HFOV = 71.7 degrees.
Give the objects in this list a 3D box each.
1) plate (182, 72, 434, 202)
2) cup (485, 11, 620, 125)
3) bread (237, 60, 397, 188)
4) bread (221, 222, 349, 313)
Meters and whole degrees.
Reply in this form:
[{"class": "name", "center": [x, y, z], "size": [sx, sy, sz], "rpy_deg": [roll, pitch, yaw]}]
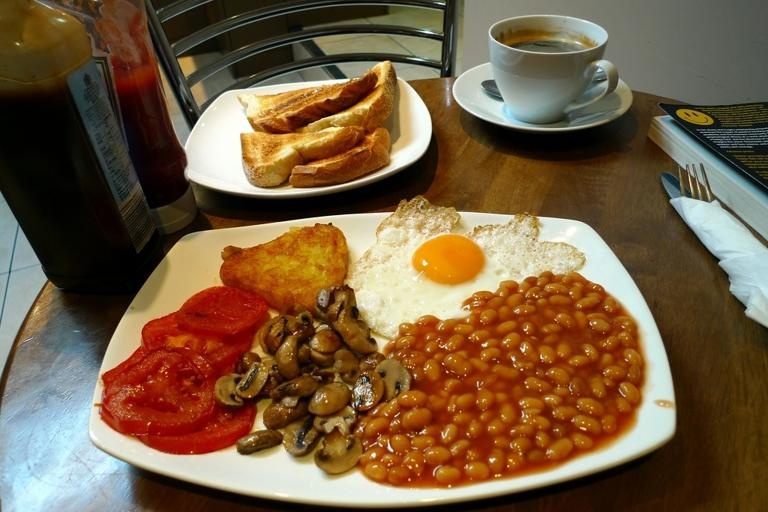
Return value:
[{"class": "plate", "center": [-0.344, -0.593, 2.026], "size": [0.943, 0.521, 0.680], "rpy_deg": [-14, 32, -22]}, {"class": "cup", "center": [0.584, -0.724, 1.984], "size": [0.373, 0.283, 0.455], "rpy_deg": [-28, 46, -26]}, {"class": "bread", "center": [-0.265, -0.460, 2.019], "size": [0.614, 0.488, 0.455], "rpy_deg": [-20, 28, -32]}, {"class": "bread", "center": [-0.274, -0.021, 1.650], "size": [0.384, 0.230, 0.283], "rpy_deg": [0, 19, 8]}]
